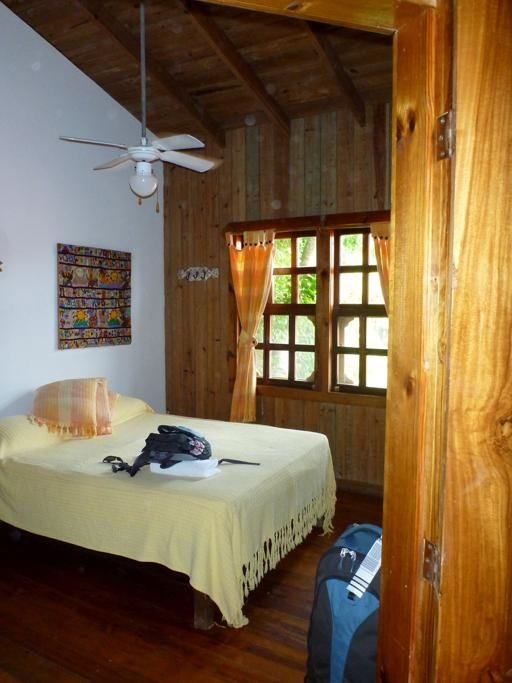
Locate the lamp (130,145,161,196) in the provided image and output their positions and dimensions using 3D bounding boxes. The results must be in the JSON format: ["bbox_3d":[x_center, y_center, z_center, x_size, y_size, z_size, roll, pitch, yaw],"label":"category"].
[{"bbox_3d":[-0.525,-0.781,2.544,0.121,0.207,0.235,0,3,-13],"label":"lamp"}]
